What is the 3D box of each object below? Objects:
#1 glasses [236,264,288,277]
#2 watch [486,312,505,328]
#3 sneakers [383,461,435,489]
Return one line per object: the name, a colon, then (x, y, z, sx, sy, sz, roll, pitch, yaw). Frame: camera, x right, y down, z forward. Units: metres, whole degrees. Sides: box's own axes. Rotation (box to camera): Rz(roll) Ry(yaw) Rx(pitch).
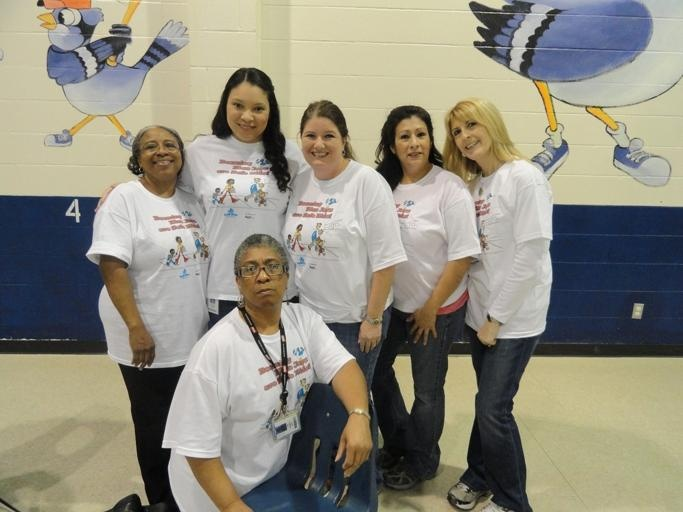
glasses: (-0.423, 0.070, 3.546, 0.267, 0.075, 0.054, -1, 14, -7)
watch: (0.935, 0.390, 4.051, 0.077, 0.029, 0.072, 27, -2, 12)
sneakers: (0.472, 1.459, 4.479, 0.365, 0.174, 0.148, -3, 16, -18)
